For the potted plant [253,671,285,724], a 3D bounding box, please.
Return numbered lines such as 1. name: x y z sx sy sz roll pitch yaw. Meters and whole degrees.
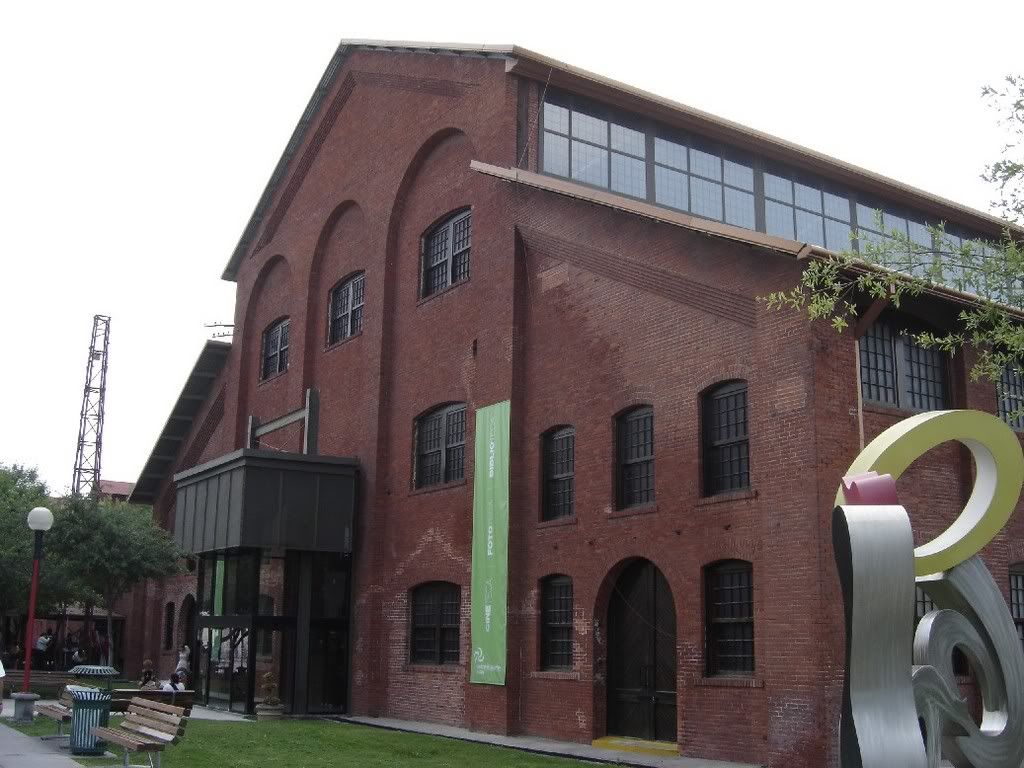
1. potted plant: -6.648 8.598 26.164 0.805 1.267 0.766 9 -21 -21
